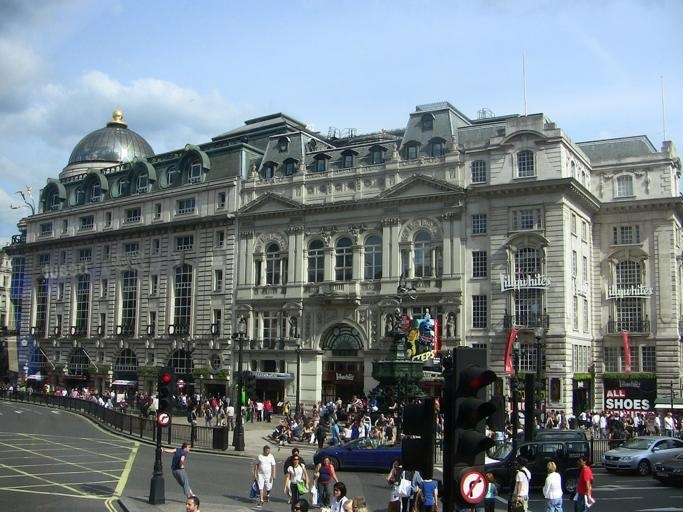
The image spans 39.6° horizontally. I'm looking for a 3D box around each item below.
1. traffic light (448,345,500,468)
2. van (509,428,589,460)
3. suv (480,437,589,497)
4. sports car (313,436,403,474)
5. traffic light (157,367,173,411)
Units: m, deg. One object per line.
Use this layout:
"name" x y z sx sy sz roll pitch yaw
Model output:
"traffic light" 4.695 5.923 35.332 1.093 5.182 1.365 -1 -6 -3
"van" 12.148 9.959 53.620 3.107 1.553 2.248 0 -7 -1
"suv" 10.653 11.860 52.623 5.428 3.004 3.243 2 -13 -3
"sports car" 1.362 11.665 56.193 6.157 1.908 2.684 3 -2 -3
"traffic light" -8.983 6.799 48.542 0.793 2.296 0.573 5 -12 -20
